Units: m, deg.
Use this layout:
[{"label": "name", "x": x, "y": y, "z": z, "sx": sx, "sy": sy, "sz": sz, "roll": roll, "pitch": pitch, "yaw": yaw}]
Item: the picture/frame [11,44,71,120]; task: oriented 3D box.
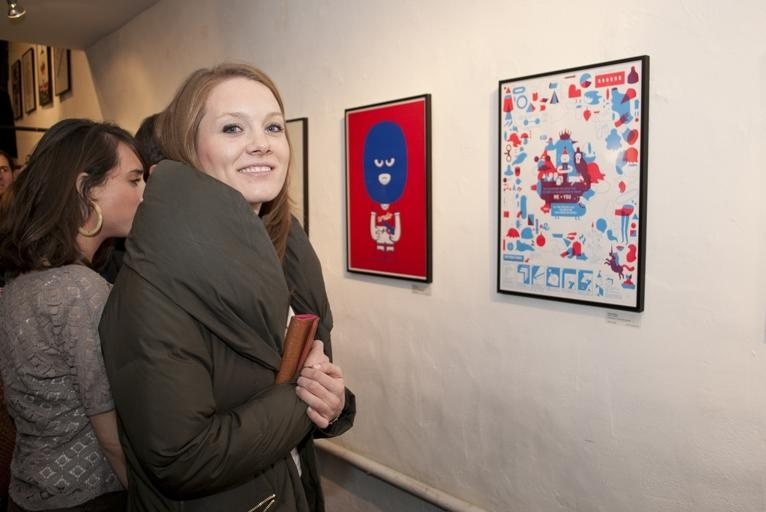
[{"label": "picture/frame", "x": -3.896, "y": -1.932, "z": 5.886, "sx": 1.509, "sy": 0.981, "sz": 0.151, "roll": 4, "pitch": 7, "yaw": 36}]
